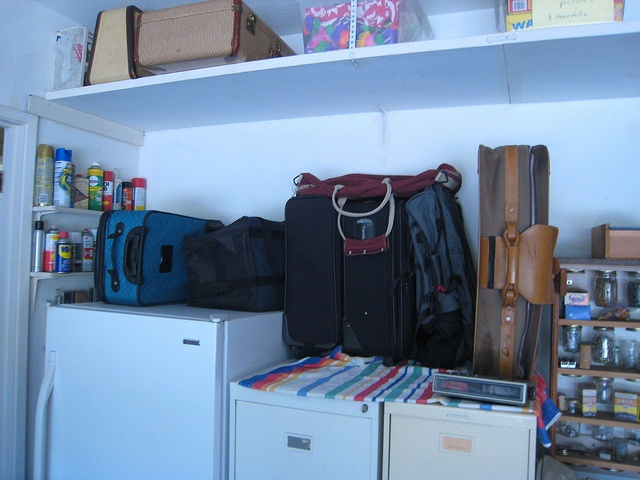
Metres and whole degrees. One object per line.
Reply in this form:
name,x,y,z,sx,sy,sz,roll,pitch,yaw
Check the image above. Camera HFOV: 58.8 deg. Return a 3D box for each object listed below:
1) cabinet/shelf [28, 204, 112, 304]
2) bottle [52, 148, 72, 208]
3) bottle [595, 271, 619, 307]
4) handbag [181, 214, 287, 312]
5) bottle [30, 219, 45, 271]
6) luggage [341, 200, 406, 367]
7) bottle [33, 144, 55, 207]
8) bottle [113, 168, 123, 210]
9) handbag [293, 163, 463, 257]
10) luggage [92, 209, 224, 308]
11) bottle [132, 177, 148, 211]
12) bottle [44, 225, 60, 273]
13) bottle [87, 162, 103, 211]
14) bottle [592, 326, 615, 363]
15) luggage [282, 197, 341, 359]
cabinet/shelf,-1.293,0.081,2.907,0.141,0.453,0.480,-2,-6,15
bottle,-1.325,-0.317,2.925,0.084,0.302,0.057,0,-1,-34
bottle,1.289,0.213,2.572,0.093,0.167,0.100,-2,11,0
handbag,-0.401,0.146,2.910,0.450,0.462,0.486,-10,-5,27
bottle,-1.429,0.037,2.882,0.063,0.259,0.044,0,-1,-33
luggage,0.258,0.181,2.561,0.324,0.720,0.108,-1,-1,6
bottle,-1.399,-0.325,2.884,0.090,0.309,0.040,0,-1,-28
bottle,-1.176,-0.296,3.306,0.048,0.242,0.133,0,-1,-18
handbag,0.247,-0.140,2.724,0.816,0.419,0.461,-1,-3,14
luggage,-0.894,0.094,2.926,0.296,0.401,0.556,1,0,11
bottle,-1.070,-0.272,3.395,0.066,0.191,0.117,-1,-1,27
bottle,-1.376,0.055,2.906,0.075,0.221,0.043,0,-1,-21
bottle,-1.227,-0.288,3.121,0.089,0.263,0.061,0,-1,-33
bottle,1.269,0.465,2.543,0.092,0.161,0.094,1,-1,0
luggage,-0.002,0.163,2.732,0.289,0.699,0.265,0,-2,31
